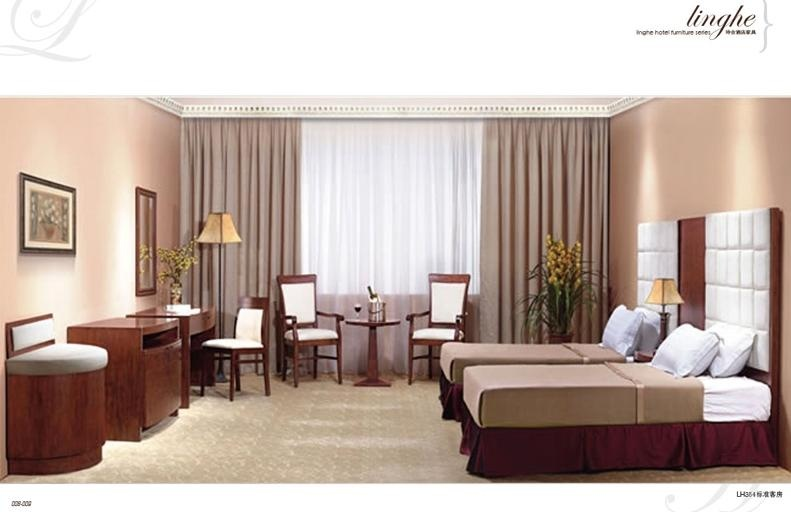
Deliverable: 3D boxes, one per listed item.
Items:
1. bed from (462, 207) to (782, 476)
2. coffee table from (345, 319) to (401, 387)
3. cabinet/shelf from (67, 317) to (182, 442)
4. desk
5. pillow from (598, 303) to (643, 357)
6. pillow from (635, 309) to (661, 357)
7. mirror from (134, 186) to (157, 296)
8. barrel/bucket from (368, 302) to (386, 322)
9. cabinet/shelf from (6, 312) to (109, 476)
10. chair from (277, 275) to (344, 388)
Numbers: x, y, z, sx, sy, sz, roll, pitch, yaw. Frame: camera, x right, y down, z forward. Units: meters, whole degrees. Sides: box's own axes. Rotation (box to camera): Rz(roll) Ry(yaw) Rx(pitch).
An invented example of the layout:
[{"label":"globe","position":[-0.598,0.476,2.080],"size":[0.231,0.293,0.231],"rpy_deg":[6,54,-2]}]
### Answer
[{"label":"bed","position":[2.110,0.748,5.707],"size":[2.408,2.123,2.453],"rpy_deg":[-1,1,1]},{"label":"coffee table","position":[-0.298,1.253,7.554],"size":[0.652,0.853,0.717],"rpy_deg":[0,4,3]},{"label":"cabinet/shelf","position":[-2.808,1.059,6.052],"size":[0.930,1.322,1.571],"rpy_deg":[0,0,-3]},{"label":"desk","position":[-2.627,0.850,6.815],"size":[0.916,1.323,1.555],"rpy_deg":[1,2,-2]},{"label":"pillow","position":[2.547,0.834,6.252],"size":[0.134,0.461,0.453],"rpy_deg":[18,6,-32]},{"label":"pillow","position":[2.890,0.855,6.365],"size":[0.153,0.414,0.401],"rpy_deg":[13,-9,-18]},{"label":"mirror","position":[-3.103,-0.185,7.010],"size":[0.165,1.359,0.650],"rpy_deg":[-1,5,-11]},{"label":"barrel/bucket","position":[-0.234,0.731,7.570],"size":[0.261,0.240,0.204],"rpy_deg":[-1,-1,3]},{"label":"cabinet/shelf","position":[-2.985,1.207,4.948],"size":[0.710,1.302,0.400],"rpy_deg":[0,5,1]},{"label":"chair","position":[-1.120,0.968,7.553],"size":[0.894,1.409,0.970],"rpy_deg":[-1,4,-12]}]
